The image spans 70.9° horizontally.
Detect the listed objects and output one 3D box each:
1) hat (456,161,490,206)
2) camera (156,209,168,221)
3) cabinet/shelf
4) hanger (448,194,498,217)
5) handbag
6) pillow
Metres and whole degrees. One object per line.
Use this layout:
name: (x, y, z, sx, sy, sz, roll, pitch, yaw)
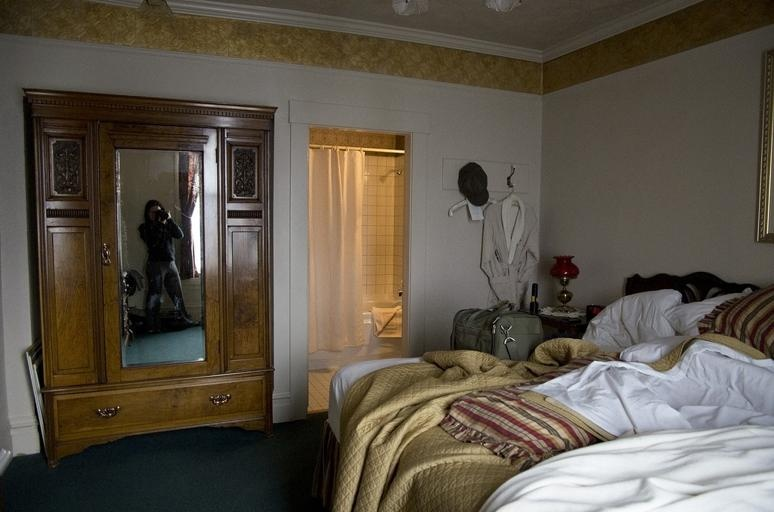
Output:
hat: (0.900, -0.742, 5.721, 0.318, 0.437, 0.240, -19, -7, 6)
camera: (-1.819, -0.337, 4.398, 0.091, 0.087, 0.036, 6, 33, 41)
cabinet/shelf: (-1.834, 0.153, 4.399, 1.765, 2.848, 0.515, -3, 13, -16)
hanger: (0.858, -0.497, 5.633, 0.360, 0.205, 0.206, -21, 15, -33)
handbag: (0.820, 0.566, 4.115, 0.439, 0.398, 0.527, 1, -2, -25)
pillow: (2.416, 0.411, 4.126, 0.456, 0.127, 0.400, -18, 19, 11)
